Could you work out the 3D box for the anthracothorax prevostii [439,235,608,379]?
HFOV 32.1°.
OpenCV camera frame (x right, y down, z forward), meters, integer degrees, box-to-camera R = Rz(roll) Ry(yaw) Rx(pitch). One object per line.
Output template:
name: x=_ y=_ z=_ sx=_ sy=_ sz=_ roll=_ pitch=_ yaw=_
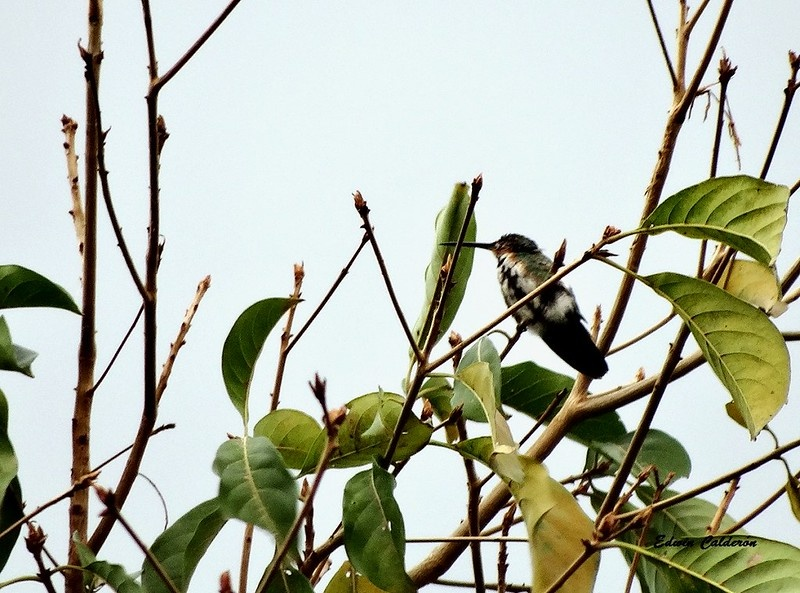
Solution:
anthracothorax prevostii: x=0.422 y=-0.006 z=4.350 sx=0.536 sy=0.283 sz=0.175 roll=28 pitch=-35 yaw=-30
